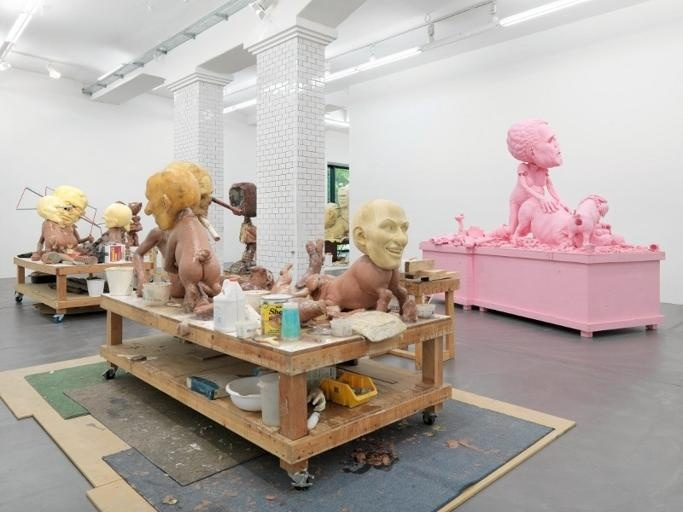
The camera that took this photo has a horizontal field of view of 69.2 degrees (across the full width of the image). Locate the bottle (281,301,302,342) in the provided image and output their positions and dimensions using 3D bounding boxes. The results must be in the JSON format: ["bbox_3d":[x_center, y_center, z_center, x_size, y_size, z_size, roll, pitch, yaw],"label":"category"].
[{"bbox_3d":[-0.286,0.370,2.816,0.104,0.191,0.154,-1,14,-7],"label":"bottle"}]

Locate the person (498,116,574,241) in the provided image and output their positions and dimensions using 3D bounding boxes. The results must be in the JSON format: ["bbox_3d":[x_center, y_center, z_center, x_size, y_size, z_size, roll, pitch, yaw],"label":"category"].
[{"bbox_3d":[2.424,-0.953,6.245,0.766,1.455,0.435,9,17,29],"label":"person"}]

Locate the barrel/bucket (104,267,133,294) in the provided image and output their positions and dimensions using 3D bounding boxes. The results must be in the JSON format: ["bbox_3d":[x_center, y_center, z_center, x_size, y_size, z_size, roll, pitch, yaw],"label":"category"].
[{"bbox_3d":[-1.756,0.203,4.023,0.228,0.189,0.210,-1,1,0],"label":"barrel/bucket"}]

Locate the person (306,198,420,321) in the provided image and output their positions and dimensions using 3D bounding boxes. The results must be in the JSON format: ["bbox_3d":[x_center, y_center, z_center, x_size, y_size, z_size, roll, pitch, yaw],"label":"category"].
[{"bbox_3d":[0.116,0.025,3.201,0.729,0.752,0.601,0,14,-3],"label":"person"}]
